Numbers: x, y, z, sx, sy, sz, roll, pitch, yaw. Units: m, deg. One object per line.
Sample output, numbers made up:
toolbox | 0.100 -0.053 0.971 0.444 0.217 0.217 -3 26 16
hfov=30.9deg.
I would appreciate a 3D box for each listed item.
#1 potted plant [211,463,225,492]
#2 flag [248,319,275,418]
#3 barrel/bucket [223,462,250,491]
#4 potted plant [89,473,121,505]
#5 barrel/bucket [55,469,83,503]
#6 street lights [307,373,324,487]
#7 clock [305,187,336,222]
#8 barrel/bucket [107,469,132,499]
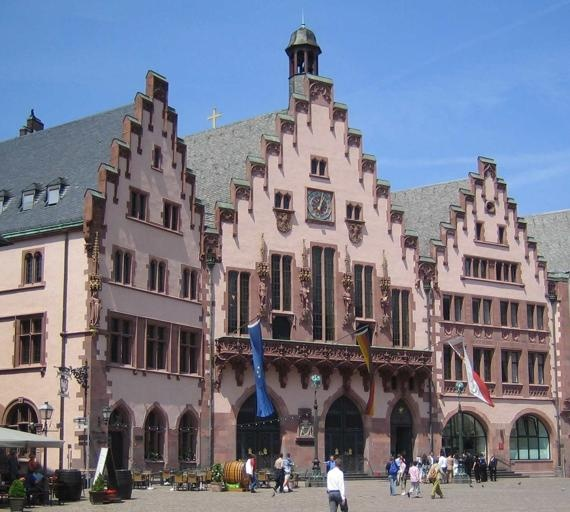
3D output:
potted plant | -3.373 11.171 51.956 0.797 1.463 0.507 -16 -23 38
flag | -1.473 6.762 61.371 0.765 5.743 1.670 6 -16 -38
barrel/bucket | -2.450 11.156 52.207 1.168 1.376 1.423 -3 -8 19
potted plant | -7.443 9.859 43.223 0.990 1.250 1.882 -6 -20 11
barrel/bucket | -9.201 9.930 44.443 1.058 1.233 1.177 0 -15 -7
street lights | 1.682 9.175 58.609 0.803 7.347 0.893 7 -16 -41
clock | 2.258 -3.532 68.801 1.816 2.059 0.357 9 -16 -40
barrel/bucket | -7.172 9.919 44.915 1.043 1.221 1.164 -2 -14 3
